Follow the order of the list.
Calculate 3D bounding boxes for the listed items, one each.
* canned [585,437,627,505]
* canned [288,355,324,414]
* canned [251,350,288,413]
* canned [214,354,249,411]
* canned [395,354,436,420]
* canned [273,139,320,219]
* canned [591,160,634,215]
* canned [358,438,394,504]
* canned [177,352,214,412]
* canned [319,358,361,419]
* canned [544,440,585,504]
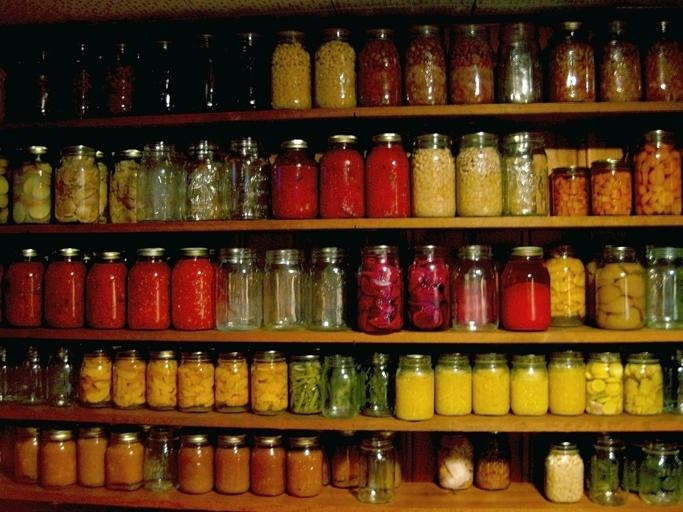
[{"bbox_3d":[0.980,0.792,3.022,0.134,0.242,0.070,-2,-7,17],"label":"canned"},{"bbox_3d":[-0.136,0.489,3.111,0.133,0.220,0.047,0,-6,-4],"label":"canned"},{"bbox_3d":[-0.271,0.480,3.099,0.135,0.235,0.053,0,-6,-5],"label":"canned"},{"bbox_3d":[-0.418,0.482,3.119,0.135,0.221,0.047,0,-6,-9],"label":"canned"},{"bbox_3d":[0.273,0.490,3.047,0.138,0.237,0.056,-1,-6,1],"label":"canned"},{"bbox_3d":[-0.175,-0.274,3.074,0.166,0.269,0.062,1,-6,-10],"label":"canned"},{"bbox_3d":[1.017,-0.257,3.063,0.137,0.204,0.057,0,-6,-1],"label":"canned"},{"bbox_3d":[0.129,0.794,3.039,0.134,0.237,0.060,-1,-6,0],"label":"canned"},{"bbox_3d":[-0.555,0.481,3.126,0.140,0.226,0.059,0,-6,-9],"label":"canned"},{"bbox_3d":[-0.007,0.489,3.075,0.133,0.223,0.063,0,-6,-3],"label":"canned"},{"bbox_3d":[0.830,0.803,3.040,0.140,0.225,0.063,-2,-6,10],"label":"canned"}]
